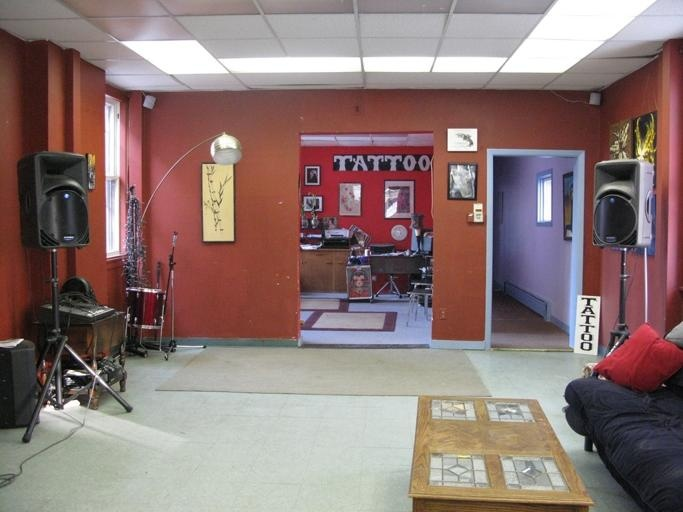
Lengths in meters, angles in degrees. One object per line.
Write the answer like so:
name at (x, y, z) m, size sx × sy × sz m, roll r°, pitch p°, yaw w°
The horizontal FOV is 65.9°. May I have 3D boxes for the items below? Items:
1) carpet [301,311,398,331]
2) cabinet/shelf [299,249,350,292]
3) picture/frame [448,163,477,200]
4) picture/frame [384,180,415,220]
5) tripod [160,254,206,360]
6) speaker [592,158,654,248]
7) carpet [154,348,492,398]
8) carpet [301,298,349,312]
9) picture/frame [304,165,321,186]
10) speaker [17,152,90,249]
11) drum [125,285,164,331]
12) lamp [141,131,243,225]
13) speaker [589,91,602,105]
carpet at (0.151, 1.019, 8.316) m, size 1.377 × 0.068 × 1.454 m, roll 1°, pitch 8°, yaw 7°
cabinet/shelf at (-0.346, 0.243, 10.597) m, size 0.815 × 0.789 × 0.321 m, roll 0°, pitch -3°, yaw 1°
picture/frame at (1.527, -0.968, 6.674) m, size 0.442 × 0.538 × 0.038 m, roll 0°, pitch 0°, yaw -2°
picture/frame at (1.248, -1.240, 11.246) m, size 0.917 × 1.150 × 0.074 m, roll 0°, pitch -2°, yaw 0°
tripod at (-2.048, 0.583, 6.703) m, size 0.487 × 1.222 × 0.734 m, roll -3°, pitch 9°, yaw -20°
speaker at (2.612, -0.484, 4.902) m, size 0.488 × 0.822 × 0.313 m, roll 4°, pitch 9°, yaw 26°
carpet at (-0.159, 1.288, 5.819) m, size 3.328 × 0.068 × 1.284 m, roll 0°, pitch 8°, yaw 3°
carpet at (-0.304, 0.879, 9.574) m, size 0.831 × 0.055 × 1.264 m, roll 0°, pitch 8°, yaw -3°
picture/frame at (-0.623, -1.756, 11.381) m, size 0.422 × 0.536 × 0.029 m, roll 0°, pitch 0°, yaw -1°
speaker at (-2.492, -0.485, 4.567) m, size 0.536 × 0.814 × 0.228 m, roll -5°, pitch 10°, yaw -33°
drum at (-2.277, 0.613, 6.181) m, size 0.441 × 0.439 × 0.450 m, roll 2°, pitch 1°, yaw -15°
lamp at (-1.782, -0.954, 6.476) m, size 1.674 × 1.133 × 0.830 m, roll 7°, pitch 11°, yaw 42°
speaker at (3.142, -1.957, 6.526) m, size 0.142 × 0.162 × 0.101 m, roll 1°, pitch 8°, yaw 7°
